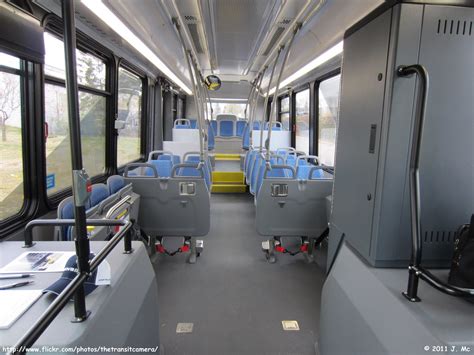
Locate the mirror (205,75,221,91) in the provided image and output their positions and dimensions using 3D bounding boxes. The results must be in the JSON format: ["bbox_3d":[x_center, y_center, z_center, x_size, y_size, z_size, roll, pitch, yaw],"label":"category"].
[{"bbox_3d":[-0.500,-2.004,6.002,0.269,0.295,0.736,-2,14,-9],"label":"mirror"}]
